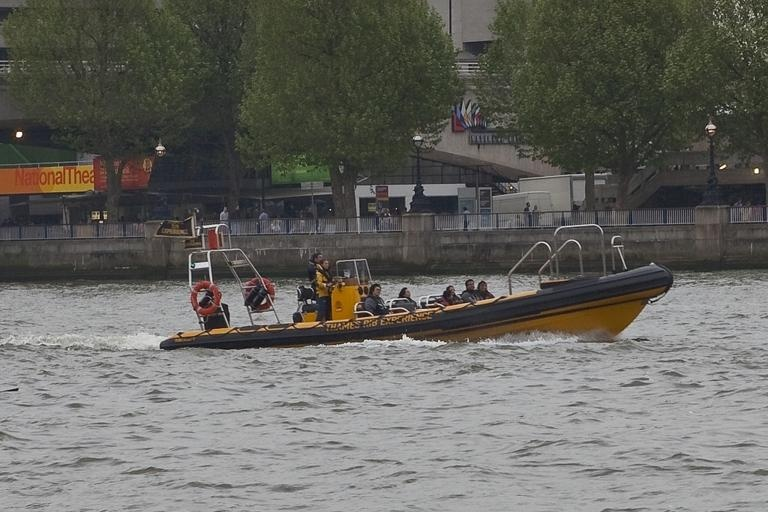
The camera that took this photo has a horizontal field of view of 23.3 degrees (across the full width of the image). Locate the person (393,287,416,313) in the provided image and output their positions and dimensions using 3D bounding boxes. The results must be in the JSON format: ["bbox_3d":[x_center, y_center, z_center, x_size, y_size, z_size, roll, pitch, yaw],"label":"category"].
[{"bbox_3d":[0.791,1.754,71.102,0.833,1.036,1.383,-1,4,7],"label":"person"}]

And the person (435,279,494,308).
[{"bbox_3d":[3.306,1.431,71.259,1.628,0.583,1.133,-1,-3,-39],"label":"person"}]

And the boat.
[{"bbox_3d":[1.652,1.221,72.730,18.118,4.769,11.475,0,0,19],"label":"boat"}]

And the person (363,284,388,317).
[{"bbox_3d":[-0.154,1.720,71.247,1.076,1.290,0.994,0,6,42],"label":"person"}]
